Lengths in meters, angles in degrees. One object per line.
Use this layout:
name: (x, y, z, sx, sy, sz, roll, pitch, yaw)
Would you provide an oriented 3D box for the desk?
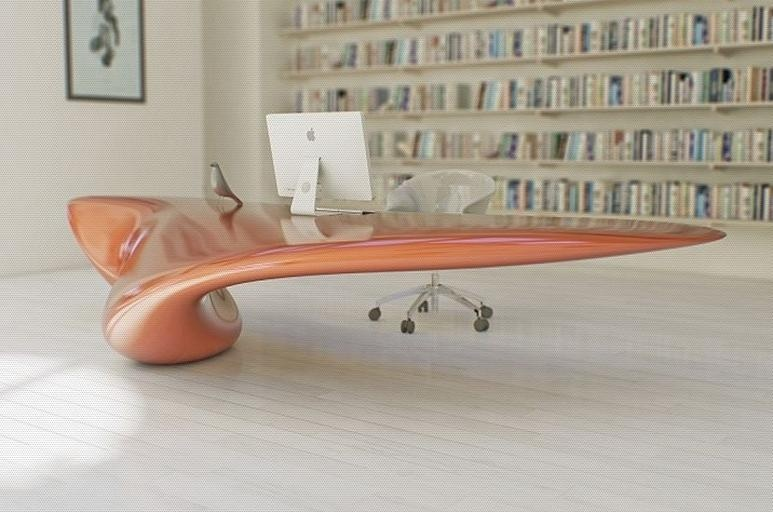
desk: (-0.303, 0.154, 3.747, 3.483, 0.895, 0.897, 2, 10, 13)
